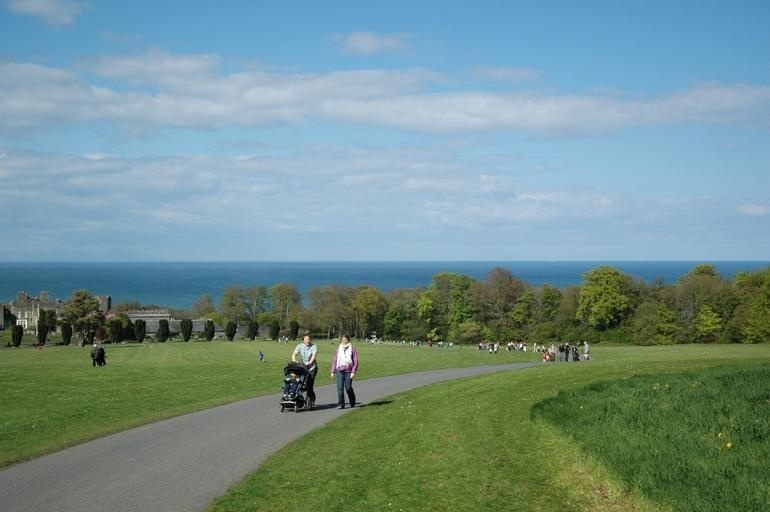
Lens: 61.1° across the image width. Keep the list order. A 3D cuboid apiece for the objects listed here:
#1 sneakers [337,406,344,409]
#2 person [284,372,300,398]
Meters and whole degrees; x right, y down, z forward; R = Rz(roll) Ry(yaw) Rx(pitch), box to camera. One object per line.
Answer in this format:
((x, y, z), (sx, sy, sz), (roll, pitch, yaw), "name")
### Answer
((-2.068, 7.281, 31.347), (0.323, 0.130, 0.108), (12, -15, -32), "sneakers")
((-4.309, 6.068, 30.738), (0.775, 1.107, 0.325), (0, -1, -9), "person")
